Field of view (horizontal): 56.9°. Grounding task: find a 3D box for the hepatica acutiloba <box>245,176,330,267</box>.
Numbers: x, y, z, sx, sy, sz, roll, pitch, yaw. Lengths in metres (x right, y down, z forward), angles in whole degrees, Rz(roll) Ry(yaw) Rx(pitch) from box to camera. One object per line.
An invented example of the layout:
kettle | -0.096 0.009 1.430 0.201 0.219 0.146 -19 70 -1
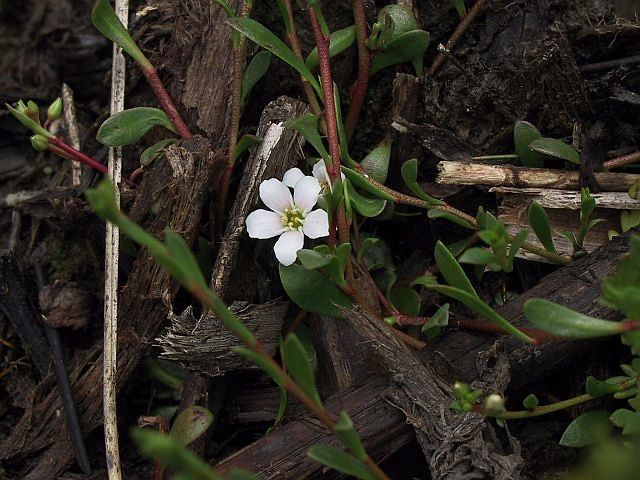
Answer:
hepatica acutiloba | -0.118 -0.125 2.470 0.357 0.356 0.116 -12 63 23
